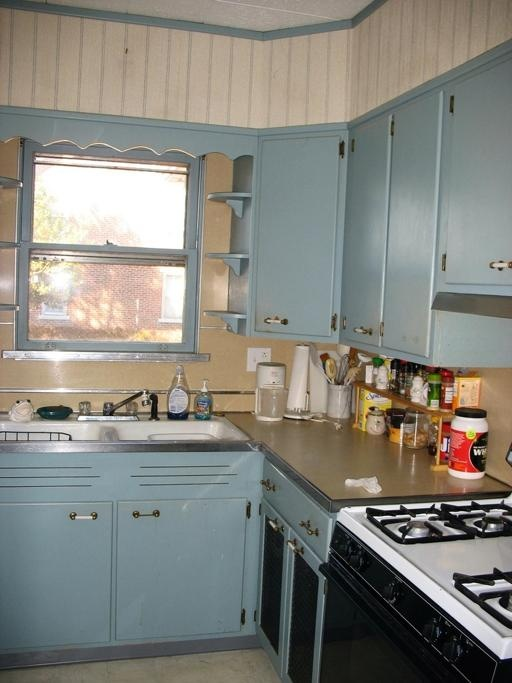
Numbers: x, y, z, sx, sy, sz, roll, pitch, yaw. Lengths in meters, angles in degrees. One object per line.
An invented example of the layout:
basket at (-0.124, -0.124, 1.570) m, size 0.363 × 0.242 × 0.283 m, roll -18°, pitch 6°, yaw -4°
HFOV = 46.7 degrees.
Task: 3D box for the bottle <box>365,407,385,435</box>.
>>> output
bottle at (0.503, 0.345, 2.498) m, size 0.119 × 0.106 × 0.074 m, roll 3°, pitch 4°, yaw 22°

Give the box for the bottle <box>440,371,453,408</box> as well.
bottle at (0.639, 0.166, 1.999) m, size 0.033 × 0.128 × 0.044 m, roll -1°, pitch 5°, yaw -19°

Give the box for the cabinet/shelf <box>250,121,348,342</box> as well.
cabinet/shelf at (0.179, -0.450, 2.554) m, size 0.402 × 0.872 × 0.101 m, roll 4°, pitch 6°, yaw 36°

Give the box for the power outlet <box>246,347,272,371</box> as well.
power outlet at (0.004, 0.089, 2.926) m, size 0.127 × 0.117 × 0.005 m, roll -1°, pitch 4°, yaw -18°

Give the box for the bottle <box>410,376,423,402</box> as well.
bottle at (0.587, 0.177, 2.168) m, size 0.047 × 0.091 × 0.085 m, roll 1°, pitch 5°, yaw 14°

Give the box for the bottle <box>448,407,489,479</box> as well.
bottle at (0.673, 0.324, 1.885) m, size 0.116 × 0.230 × 0.159 m, roll 2°, pitch 5°, yaw 19°

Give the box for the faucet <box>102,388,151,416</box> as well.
faucet at (-0.597, 0.283, 2.721) m, size 0.206 × 0.108 × 0.234 m, roll -1°, pitch 5°, yaw -15°

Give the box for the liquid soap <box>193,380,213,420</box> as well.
liquid soap at (-0.253, 0.279, 2.782) m, size 0.077 × 0.160 × 0.138 m, roll -1°, pitch 5°, yaw -10°

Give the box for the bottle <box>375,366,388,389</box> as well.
bottle at (0.527, 0.153, 2.485) m, size 0.049 × 0.093 × 0.068 m, roll 1°, pitch 5°, yaw 12°

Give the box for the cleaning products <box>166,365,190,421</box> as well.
cleaning products at (-0.368, 0.233, 2.764) m, size 0.094 × 0.244 × 0.181 m, roll 0°, pitch 5°, yaw -9°

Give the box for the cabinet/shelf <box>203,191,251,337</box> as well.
cabinet/shelf at (-0.141, -0.362, 2.773) m, size 0.183 × 0.661 × 0.311 m, roll -1°, pitch 5°, yaw -13°

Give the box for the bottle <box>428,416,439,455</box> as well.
bottle at (0.649, 0.354, 2.187) m, size 0.026 × 0.132 × 0.165 m, roll 1°, pitch 5°, yaw 14°
